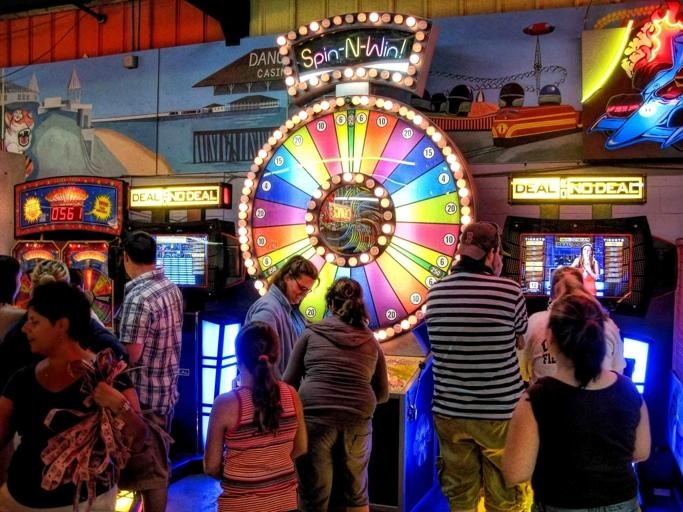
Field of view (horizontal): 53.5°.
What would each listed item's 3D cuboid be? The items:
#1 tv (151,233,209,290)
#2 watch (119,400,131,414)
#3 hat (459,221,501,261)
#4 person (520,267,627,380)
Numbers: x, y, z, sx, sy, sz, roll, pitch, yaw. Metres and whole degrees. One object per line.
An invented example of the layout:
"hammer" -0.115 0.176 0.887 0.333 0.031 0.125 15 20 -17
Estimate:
"tv" -1.529 0.034 6.532 0.538 0.411 0.077 5 1 19
"watch" -1.064 0.736 3.332 0.043 0.056 0.033 4 -15 -34
"hat" 0.909 -0.138 4.490 0.283 0.204 0.413 5 18 42
"person" 1.443 0.399 4.156 0.623 0.534 0.909 6 -36 29
